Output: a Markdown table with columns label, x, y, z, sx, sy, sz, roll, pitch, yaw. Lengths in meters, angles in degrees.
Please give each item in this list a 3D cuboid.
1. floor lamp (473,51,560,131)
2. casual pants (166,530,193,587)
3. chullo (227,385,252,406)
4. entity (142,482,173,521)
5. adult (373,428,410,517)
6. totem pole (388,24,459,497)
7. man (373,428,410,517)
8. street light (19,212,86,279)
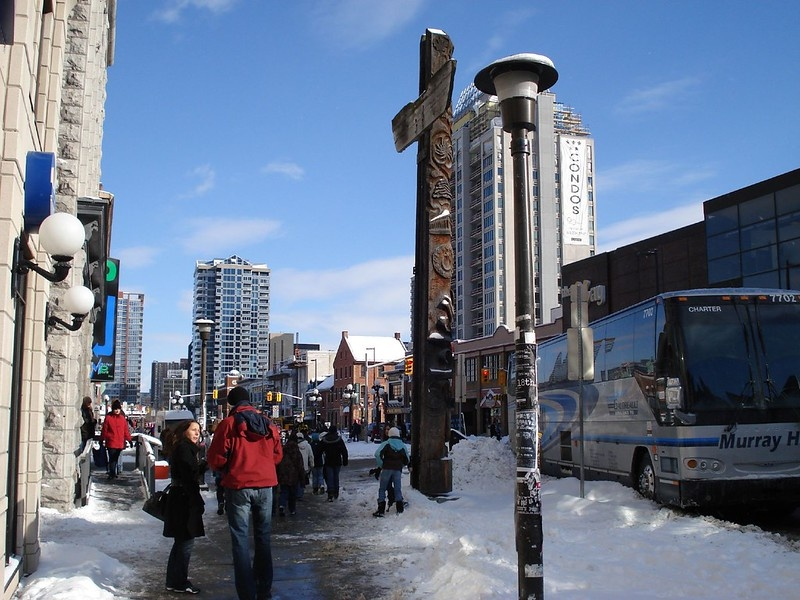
| label | x | y | z | sx | sy | sz | roll | pitch | yaw |
| --- | --- | --- | --- | --- | --- | --- | --- | --- | --- |
| floor lamp | 1.512 | -2.633 | 10.229 | 1.061 | 0.981 | 0.851 | -2 | -10 | 7 |
| casual pants | -3.075 | 3.651 | 10.983 | 0.370 | 0.683 | 0.327 | 0 | -9 | -5 |
| chullo | -2.215 | 1.343 | 10.852 | 0.241 | 0.290 | 0.330 | 1 | 8 | -8 |
| entity | -3.374 | 2.829 | 11.061 | 0.394 | 0.470 | 0.404 | -1 | -9 | -1 |
| adult | -0.205 | 3.786 | 17.416 | 0.750 | 1.914 | 1.298 | -1 | -9 | -2 |
| totem pole | 0.857 | -1.200 | 20.674 | 1.109 | 12.310 | 2.448 | 3 | -10 | -23 |
| man | -0.207 | 3.797 | 17.478 | 0.750 | 1.914 | 1.423 | -1 | -9 | -2 |
| street light | -4.153 | -0.636 | 9.928 | 0.876 | 1.008 | 0.607 | -3 | -3 | 8 |
